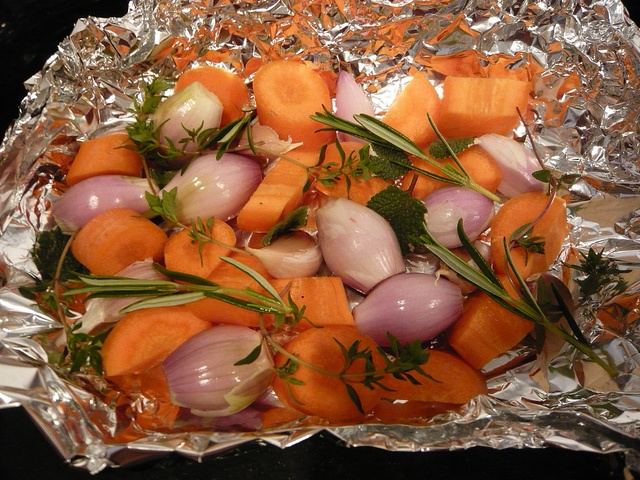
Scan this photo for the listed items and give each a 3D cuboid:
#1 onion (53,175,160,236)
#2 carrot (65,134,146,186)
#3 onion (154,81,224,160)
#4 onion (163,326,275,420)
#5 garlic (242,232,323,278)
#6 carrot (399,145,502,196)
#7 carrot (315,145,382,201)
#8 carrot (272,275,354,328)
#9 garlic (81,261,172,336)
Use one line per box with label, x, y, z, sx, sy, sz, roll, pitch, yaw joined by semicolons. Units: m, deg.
onion;-0.614;-0.124;1.737;0.308;0.165;0.138;-6;40;-11
carrot;-0.622;-0.237;1.735;0.185;0.118;0.156;3;55;11
onion;-0.368;-0.328;1.640;0.163;0.160;0.192;42;83;-2
onion;-0.262;0.334;1.502;0.269;0.076;0.204;-18;65;-6
garlic;-0.079;0.049;1.673;0.205;0.110;0.160;-9;35;21
carrot;0.387;-0.203;1.672;0.190;0.057;0.166;33;72;36
carrot;0.099;-0.200;1.660;0.198;0.088;0.183;8;66;6
carrot;-0.038;0.168;1.559;0.257;0.059;0.157;-9;80;-39
garlic;-0.551;0.165;1.624;0.266;0.059;0.150;-37;88;-14
